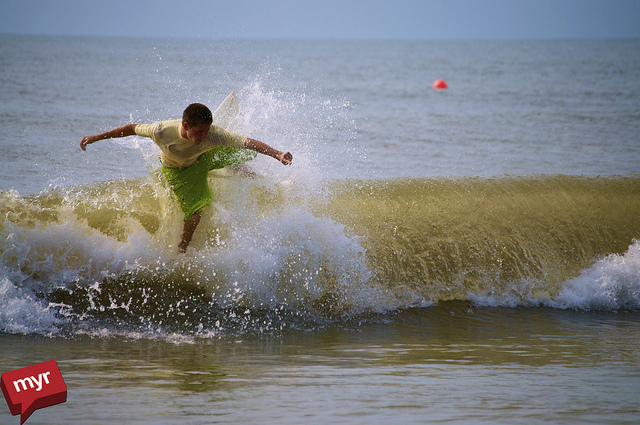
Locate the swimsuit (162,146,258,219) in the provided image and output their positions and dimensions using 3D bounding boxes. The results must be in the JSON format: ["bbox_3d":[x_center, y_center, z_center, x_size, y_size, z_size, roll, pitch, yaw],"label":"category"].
[{"bbox_3d":[-2.018,-0.524,16.533,1.359,1.178,0.628,-10,42,-12],"label":"swimsuit"}]

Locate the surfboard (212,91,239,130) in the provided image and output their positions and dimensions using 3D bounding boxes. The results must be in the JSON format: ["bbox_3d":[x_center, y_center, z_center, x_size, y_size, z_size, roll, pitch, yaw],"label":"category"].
[{"bbox_3d":[-1.755,-1.931,17.327,0.404,0.514,0.627,14,42,15],"label":"surfboard"}]

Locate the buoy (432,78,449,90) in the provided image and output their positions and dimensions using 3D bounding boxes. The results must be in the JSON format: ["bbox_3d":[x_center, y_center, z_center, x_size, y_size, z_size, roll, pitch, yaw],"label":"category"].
[{"bbox_3d":[3.572,-3.783,27.435,0.494,0.161,0.455,12,24,27],"label":"buoy"}]
